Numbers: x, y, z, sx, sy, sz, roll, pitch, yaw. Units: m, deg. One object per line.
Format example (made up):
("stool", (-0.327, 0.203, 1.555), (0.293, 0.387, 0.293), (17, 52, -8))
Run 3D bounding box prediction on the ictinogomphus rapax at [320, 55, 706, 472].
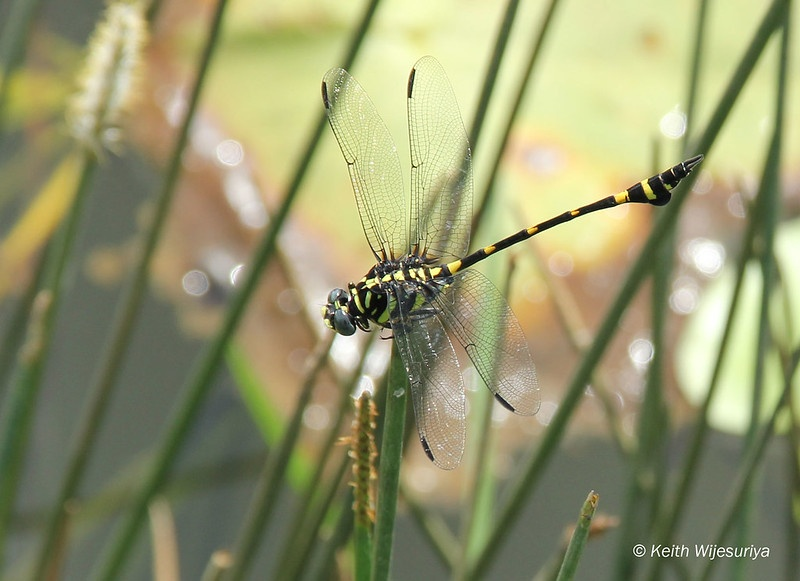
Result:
("ictinogomphus rapax", (0.091, -0.025, 1.301), (0.470, 0.453, 0.314), (14, -50, -1))
